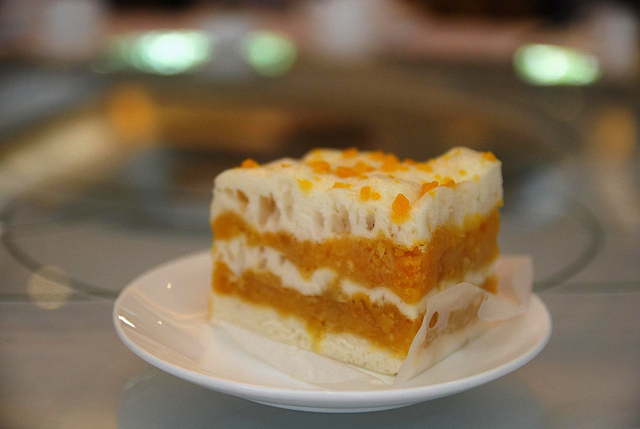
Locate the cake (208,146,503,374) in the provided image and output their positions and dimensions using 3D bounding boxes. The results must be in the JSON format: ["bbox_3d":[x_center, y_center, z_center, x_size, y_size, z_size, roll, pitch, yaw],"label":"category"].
[{"bbox_3d":[0.229,0.088,3.352,1.090,1.021,1.034,5,95,25],"label":"cake"}]
